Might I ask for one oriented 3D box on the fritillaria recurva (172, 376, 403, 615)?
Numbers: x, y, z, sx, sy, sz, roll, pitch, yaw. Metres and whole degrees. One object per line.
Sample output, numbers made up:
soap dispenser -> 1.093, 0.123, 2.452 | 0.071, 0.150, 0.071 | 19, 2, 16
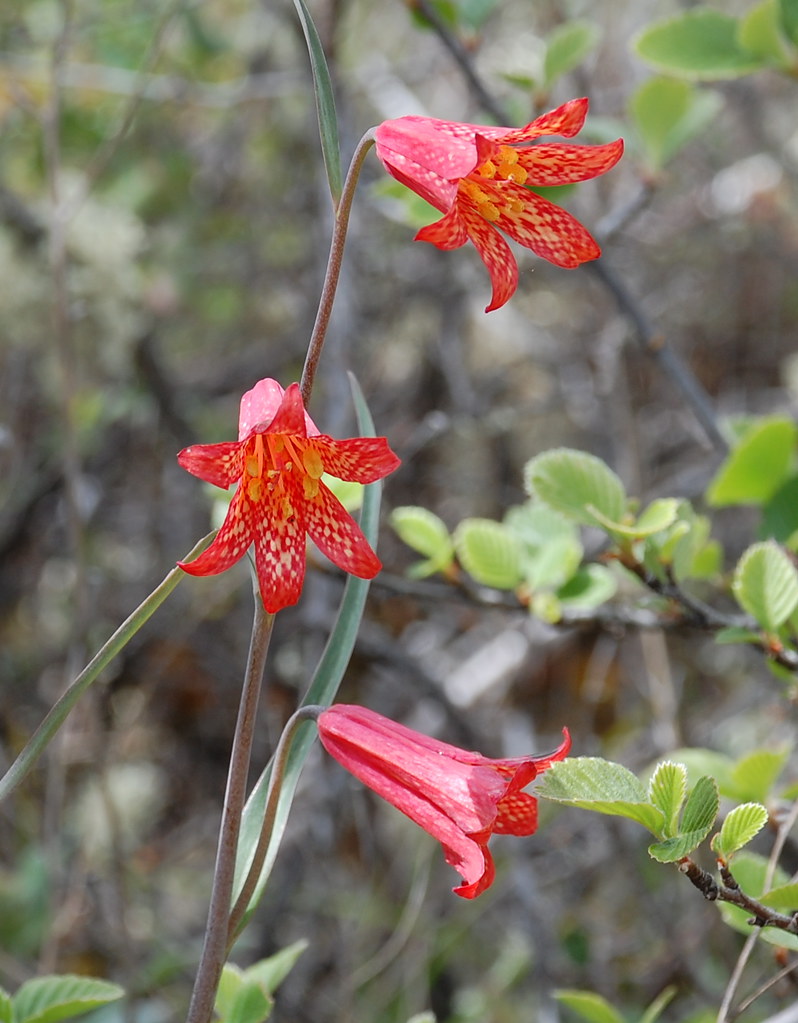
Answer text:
fritillaria recurva -> -0.118, -0.029, 0.925 | 0.210, 0.188, 0.117 | -3, 14, -33
